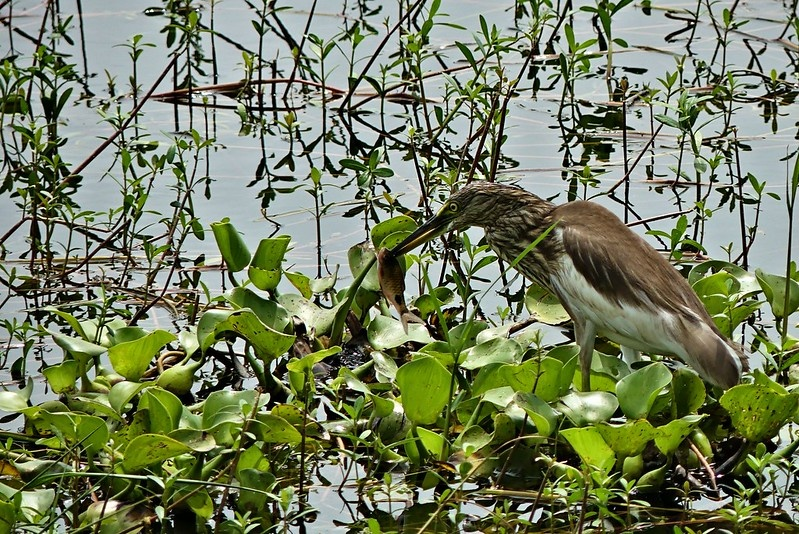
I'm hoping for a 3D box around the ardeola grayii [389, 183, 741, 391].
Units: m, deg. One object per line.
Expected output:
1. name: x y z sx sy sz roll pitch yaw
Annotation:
1. ardeola grayii: 0.869 0.080 4.518 1.484 1.011 0.274 1 -9 27
